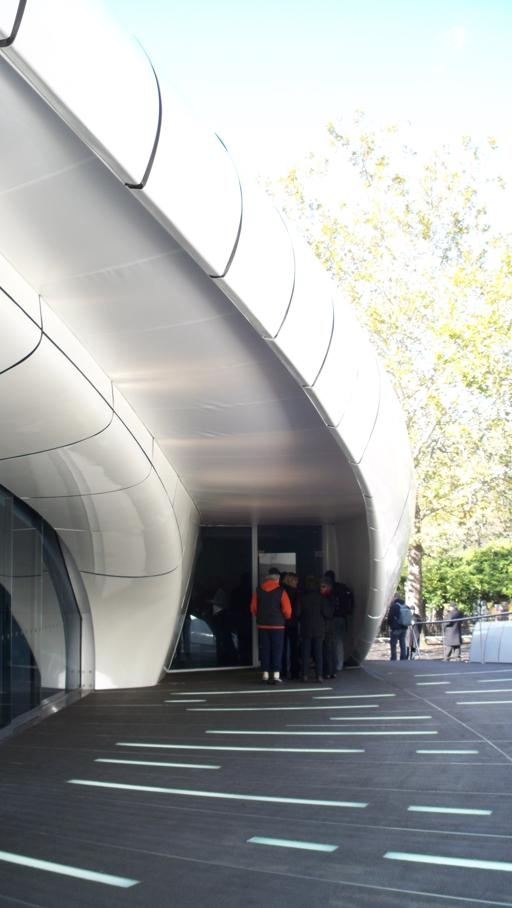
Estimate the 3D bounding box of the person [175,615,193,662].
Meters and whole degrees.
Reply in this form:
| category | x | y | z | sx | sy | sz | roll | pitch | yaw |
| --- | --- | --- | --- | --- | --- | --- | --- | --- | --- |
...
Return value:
| category | x | y | z | sx | sy | sz | roll | pitch | yaw |
| --- | --- | --- | --- | --- | --- | --- | --- | --- | --- |
| person | -1.544 | 3.998 | 13.578 | 0.325 | 1.066 | 0.134 | 4 | -8 | -13 |

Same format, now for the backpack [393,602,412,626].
| category | x | y | z | sx | sy | sz | roll | pitch | yaw |
| --- | --- | --- | --- | --- | --- | --- | --- | --- | --- |
| backpack | 4.150 | 4.428 | 17.444 | 0.460 | 0.719 | 0.609 | 7 | -13 | -38 |

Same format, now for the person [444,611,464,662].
| category | x | y | z | sx | sy | sz | roll | pitch | yaw |
| --- | --- | --- | --- | --- | --- | --- | --- | --- | --- |
| person | 5.436 | 5.105 | 17.392 | 0.440 | 1.196 | 1.114 | 0 | -9 | 17 |
